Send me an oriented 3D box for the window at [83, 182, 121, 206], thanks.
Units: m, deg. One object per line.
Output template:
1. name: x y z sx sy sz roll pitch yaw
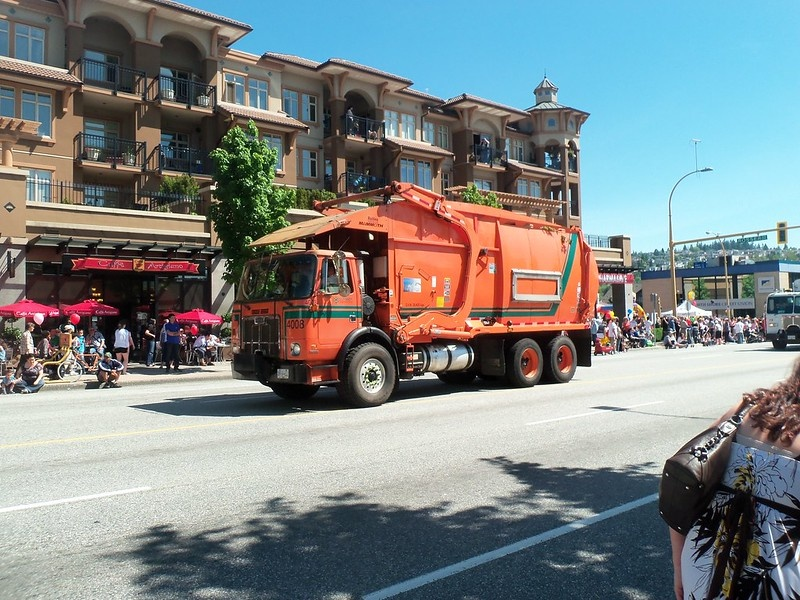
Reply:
1. window: -13.524 -4.748 32.172 1.392 1.287 3.043 1 -4 -24

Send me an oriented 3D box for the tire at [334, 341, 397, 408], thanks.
1. tire: -0.720 1.485 14.413 0.423 1.348 1.239 -3 -4 37

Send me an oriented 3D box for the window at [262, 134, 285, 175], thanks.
1. window: -6.580 -7.669 37.372 0.105 1.990 1.066 -18 -12 43

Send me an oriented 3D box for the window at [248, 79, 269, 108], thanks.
1. window: -7.692 -10.980 38.337 0.126 2.043 1.670 0 0 37

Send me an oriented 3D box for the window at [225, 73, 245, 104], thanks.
1. window: -8.732 -11.037 37.372 0.126 1.900 1.747 0 -1 32

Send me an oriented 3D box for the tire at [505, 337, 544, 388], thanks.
1. tire: 3.073 1.564 17.770 0.328 1.048 0.961 -1 13 44

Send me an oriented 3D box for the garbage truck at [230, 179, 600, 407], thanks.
1. garbage truck: 0.833 -0.108 18.051 9.430 4.761 4.148 0 -1 -41

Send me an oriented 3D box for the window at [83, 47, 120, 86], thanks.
1. window: -13.749 -10.541 32.558 0.254 1.856 2.293 -3 -3 35

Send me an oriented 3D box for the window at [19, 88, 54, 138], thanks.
1. window: -15.449 -7.790 30.228 0.059 1.887 1.555 6 8 24
